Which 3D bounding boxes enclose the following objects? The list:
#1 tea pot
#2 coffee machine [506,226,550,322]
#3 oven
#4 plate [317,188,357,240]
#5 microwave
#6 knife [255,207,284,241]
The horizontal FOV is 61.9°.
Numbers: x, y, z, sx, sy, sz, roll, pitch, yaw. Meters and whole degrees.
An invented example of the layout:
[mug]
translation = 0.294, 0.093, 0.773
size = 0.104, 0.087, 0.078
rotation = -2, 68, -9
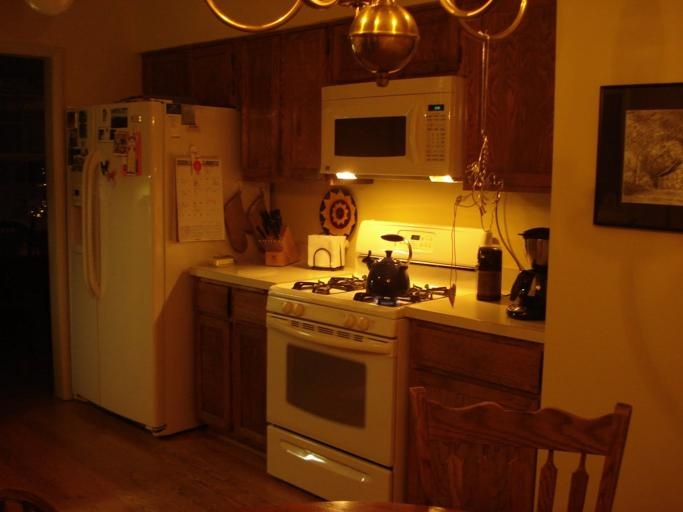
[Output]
[tea pot]
translation = 0.247, 0.034, 2.997
size = 0.253, 0.314, 0.472
rotation = 2, 9, 6
[coffee machine]
translation = 0.823, 0.074, 2.488
size = 0.204, 0.389, 0.159
rotation = 7, 10, 39
[oven]
translation = 0.075, 0.705, 3.166
size = 0.833, 1.161, 0.773
rotation = 7, 13, 26
[plate]
translation = -0.019, -0.294, 3.791
size = 0.077, 0.341, 0.319
rotation = -6, 10, -39
[microwave]
translation = 0.289, -0.685, 3.233
size = 0.783, 0.512, 0.503
rotation = 4, 9, 19
[knife]
translation = -0.499, -0.222, 3.915
size = 0.207, 0.219, 0.211
rotation = -1, -5, 41
